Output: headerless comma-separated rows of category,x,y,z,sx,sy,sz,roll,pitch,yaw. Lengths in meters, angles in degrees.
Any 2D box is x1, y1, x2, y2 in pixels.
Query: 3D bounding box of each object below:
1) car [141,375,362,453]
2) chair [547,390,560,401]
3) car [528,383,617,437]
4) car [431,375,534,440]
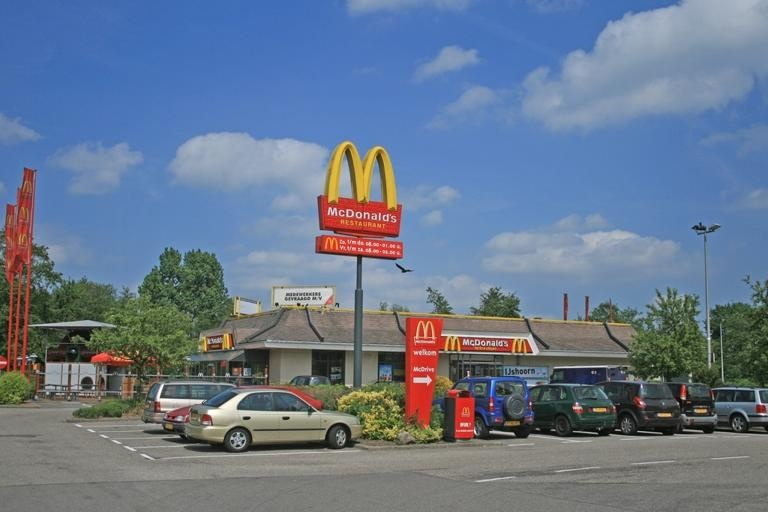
car,-4.328,5.835,33.942,5.117,1.645,2.621,-1,-2,-21
chair,7.434,6.163,39.930,0.390,0.494,0.464,3,-6,-3
car,8.192,6.717,39.643,3.365,2.329,1.538,-5,-16,13
car,4.331,6.392,39.187,2.350,2.024,3.939,3,-1,-31
